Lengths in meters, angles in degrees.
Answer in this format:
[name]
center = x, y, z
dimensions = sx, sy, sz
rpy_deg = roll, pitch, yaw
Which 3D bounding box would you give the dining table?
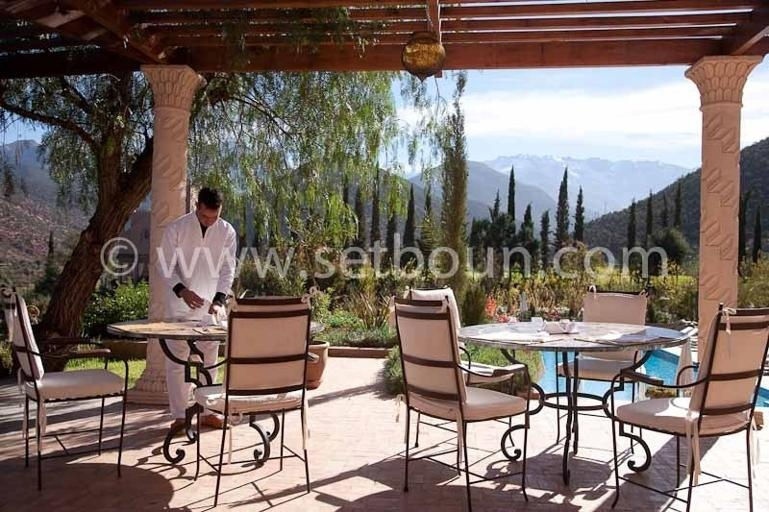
[dining table]
center = -2.216, 1.303, 6.318
dimensions = 1.279, 0.960, 1.364
rpy_deg = 4, 8, -9
